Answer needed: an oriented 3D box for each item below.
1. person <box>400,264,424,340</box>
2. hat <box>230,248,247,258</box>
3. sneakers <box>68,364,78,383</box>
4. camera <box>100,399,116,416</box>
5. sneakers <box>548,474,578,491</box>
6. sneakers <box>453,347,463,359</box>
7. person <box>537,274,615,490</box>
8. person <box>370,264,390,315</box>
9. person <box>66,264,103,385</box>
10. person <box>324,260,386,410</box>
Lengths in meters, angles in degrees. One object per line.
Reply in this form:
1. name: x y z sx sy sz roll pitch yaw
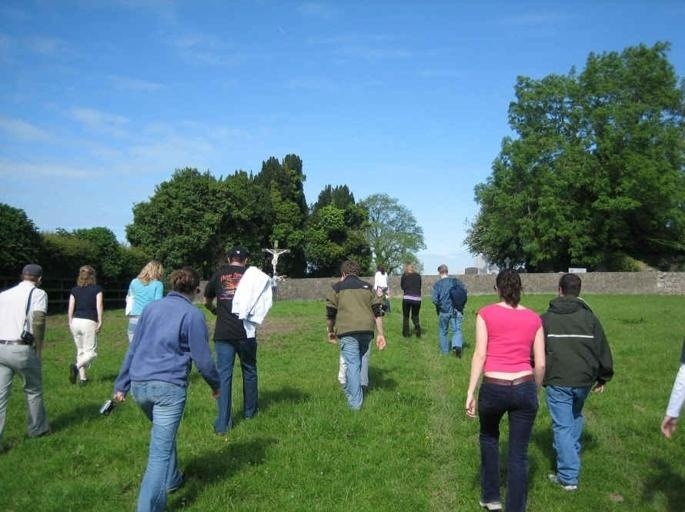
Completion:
1. person: 1.989 1.325 18.098 0.575 2.376 1.010 1 11 6
2. hat: -1.883 -0.069 11.366 0.227 0.189 0.395 6 1 1
3. sneakers: -5.917 2.601 13.666 0.139 0.417 0.176 1 -3 23
4. camera: -3.498 2.276 9.216 0.076 0.232 0.220 24 5 -14
5. sneakers: 3.405 3.487 9.656 0.157 0.218 0.429 2 10 -32
6. sneakers: 2.891 2.428 15.596 0.186 0.384 0.263 -10 -10 35
7. person: 3.564 1.934 9.703 0.948 3.129 0.951 -10 15 -41
8. person: 1.434 1.164 21.990 0.568 1.854 0.460 -4 24 7
9. person: -5.656 1.572 13.654 0.770 2.611 0.806 -5 12 -25
10. person: 0.242 1.523 11.916 1.081 2.767 0.946 0 11 2
